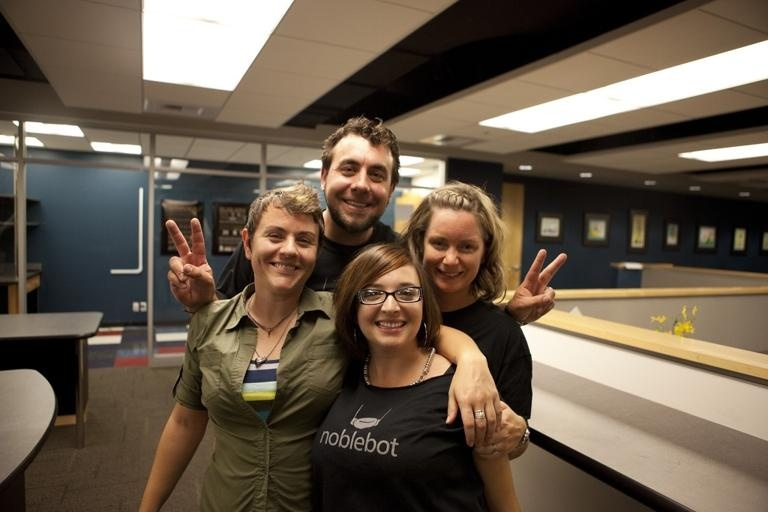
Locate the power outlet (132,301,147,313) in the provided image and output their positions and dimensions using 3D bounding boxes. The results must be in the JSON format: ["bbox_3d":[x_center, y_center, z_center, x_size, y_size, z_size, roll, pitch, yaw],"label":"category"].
[{"bbox_3d":[-4.182,0.853,8.395,0.196,0.178,0.065,3,-2,-24],"label":"power outlet"}]

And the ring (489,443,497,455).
[{"bbox_3d":[0.492,0.856,2.206,0.034,0.036,0.009,-6,5,1],"label":"ring"}]

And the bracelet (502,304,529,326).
[{"bbox_3d":[0.689,0.302,2.593,0.114,0.045,0.093,39,-1,38],"label":"bracelet"}]

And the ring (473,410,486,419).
[{"bbox_3d":[0.423,0.692,2.173,0.036,0.026,0.037,1,-8,0],"label":"ring"}]

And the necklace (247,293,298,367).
[{"bbox_3d":[-0.548,0.379,2.400,0.159,0.291,0.066,19,-7,9],"label":"necklace"}]
